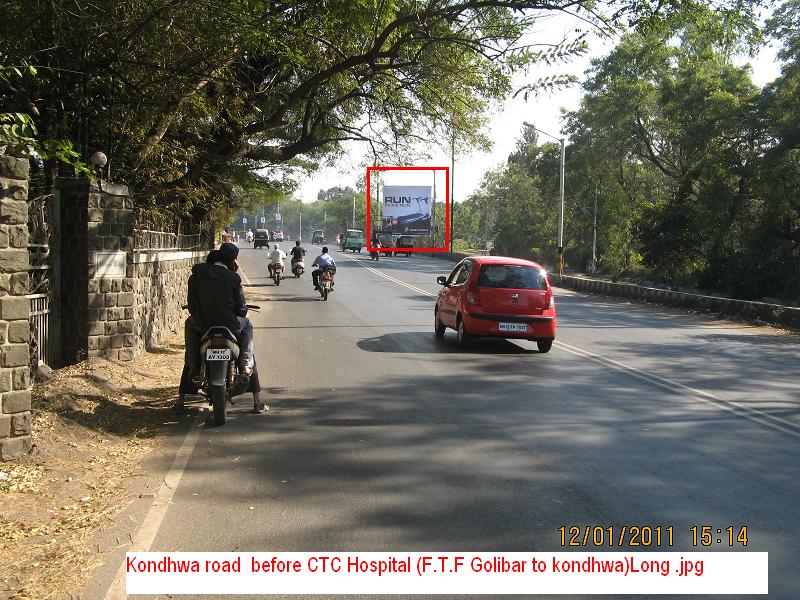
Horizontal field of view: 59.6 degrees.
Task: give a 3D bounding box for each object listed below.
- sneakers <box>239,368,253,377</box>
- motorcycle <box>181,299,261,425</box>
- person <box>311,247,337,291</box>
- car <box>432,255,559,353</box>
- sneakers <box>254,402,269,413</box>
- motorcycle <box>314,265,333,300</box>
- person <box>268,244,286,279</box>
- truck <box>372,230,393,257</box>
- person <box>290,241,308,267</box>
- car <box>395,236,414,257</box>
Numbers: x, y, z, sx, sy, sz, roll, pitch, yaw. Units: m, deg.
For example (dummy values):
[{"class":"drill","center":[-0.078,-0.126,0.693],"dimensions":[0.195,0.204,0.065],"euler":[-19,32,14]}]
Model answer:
[{"class":"sneakers","center":[-1.972,0.930,9.048],"dimensions":[0.117,0.111,0.089],"euler":[1,-4,34]},{"class":"motorcycle","center":[-2.294,0.900,8.950],"dimensions":[0.893,1.231,0.887],"euler":[-1,5,-17]},{"class":"person","center":[-2.855,-1.181,26.347],"dimensions":[0.973,1.115,1.731],"euler":[0,14,-6]},{"class":"car","center":[1.922,0.045,15.325],"dimensions":[1.634,1.978,2.673],"euler":[-3,6,-37]},{"class":"sneakers","center":[-1.858,1.430,9.468],"dimensions":[0.093,0.113,0.251],"euler":[3,8,10]},{"class":"motorcycle","center":[-2.761,-0.637,25.895],"dimensions":[0.456,1.224,0.940],"euler":[-1,5,-20]},{"class":"person","center":[-5.966,-1.935,33.811],"dimensions":[0.717,1.483,1.995],"euler":[0,5,-12]},{"class":"truck","center":[-1.682,-6.590,75.434],"dimensions":[2.150,3.690,3.735],"euler":[4,26,-1]},{"class":"person","center":[-5.482,-2.645,38.054],"dimensions":[0.971,1.035,1.551],"euler":[1,18,-7]},{"class":"car","center":[0.516,-5.866,74.840],"dimensions":[1.635,2.055,2.785],"euler":[1,5,2]}]
